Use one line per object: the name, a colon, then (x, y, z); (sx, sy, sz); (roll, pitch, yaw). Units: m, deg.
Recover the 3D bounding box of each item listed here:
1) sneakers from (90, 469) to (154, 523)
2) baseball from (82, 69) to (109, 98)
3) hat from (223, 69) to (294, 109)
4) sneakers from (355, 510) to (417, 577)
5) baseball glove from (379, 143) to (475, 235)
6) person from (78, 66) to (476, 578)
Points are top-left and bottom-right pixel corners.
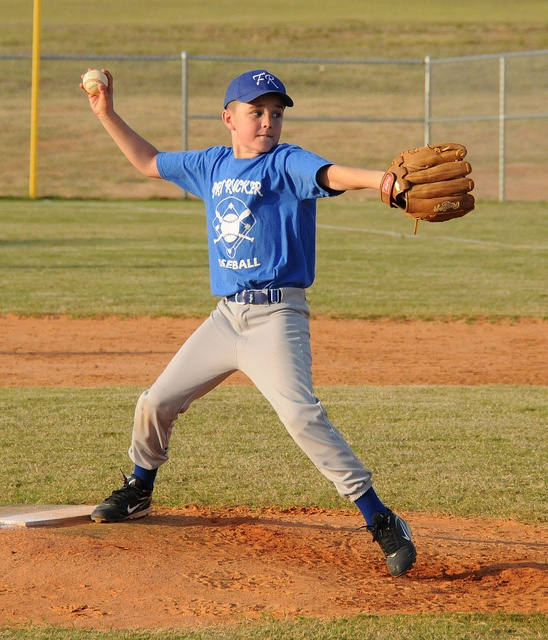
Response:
sneakers: (-0.653, 0.734, 5.383); (0.332, 0.171, 0.115); (-3, 22, -45)
baseball: (-0.781, -1.032, 5.622); (0.134, 0.120, 0.127); (-2, -7, 1)
hat: (-0.070, -0.915, 5.099); (0.164, 0.112, 0.217); (4, -11, -34)
sneakers: (0.434, 0.859, 4.971); (0.142, 0.109, 0.293); (39, 21, -33)
baseball glove: (0.561, -0.471, 4.649); (0.351, 0.326, 0.193); (0, 13, -3)
person: (0.011, -0.043, 5.170); (1.660, 1.876, 0.667); (6, 14, 22)
